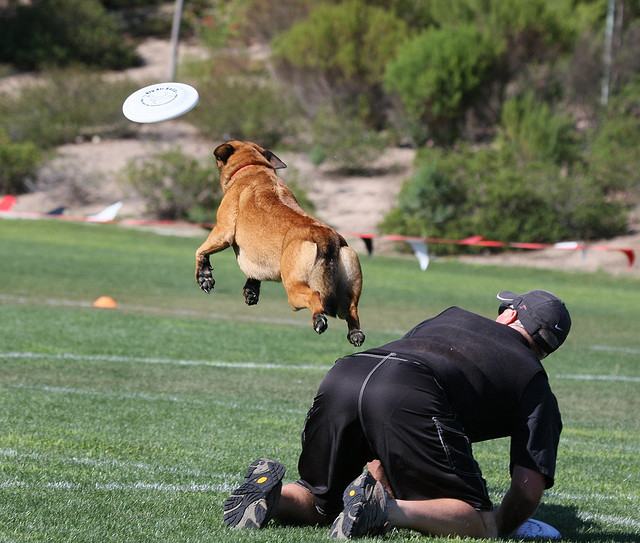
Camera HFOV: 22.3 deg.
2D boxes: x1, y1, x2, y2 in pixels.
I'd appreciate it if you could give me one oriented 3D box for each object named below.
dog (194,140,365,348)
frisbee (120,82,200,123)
[{"bbox_3d":[-0.277,-0.237,11.526,0.787,1.100,2.175,2,15,-32],"label":"dog"},{"bbox_3d":[-1.093,-1.156,11.223,0.508,0.294,0.396,5,8,-3],"label":"frisbee"}]
